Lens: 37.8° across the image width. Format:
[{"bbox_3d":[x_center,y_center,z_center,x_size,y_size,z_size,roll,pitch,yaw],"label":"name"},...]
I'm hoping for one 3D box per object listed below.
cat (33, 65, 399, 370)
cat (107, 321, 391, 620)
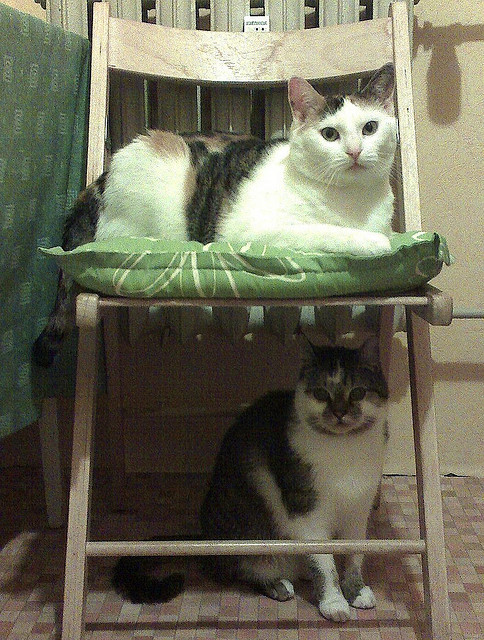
[{"bbox_3d":[-0.046,-0.175,1.045,0.496,0.389,0.458,1,16,-3],"label":"cat"},{"bbox_3d":[0.001,0.236,1.163,0.423,0.472,0.326,1,16,16],"label":"cat"}]
